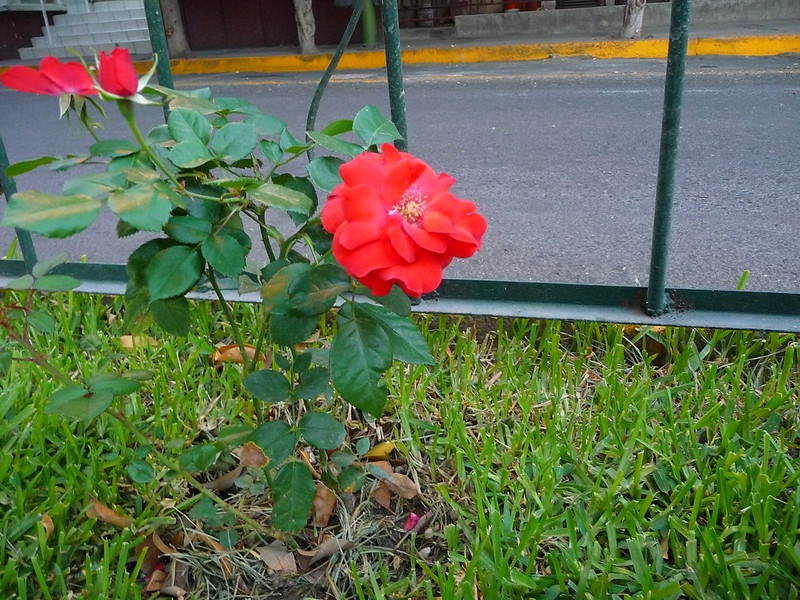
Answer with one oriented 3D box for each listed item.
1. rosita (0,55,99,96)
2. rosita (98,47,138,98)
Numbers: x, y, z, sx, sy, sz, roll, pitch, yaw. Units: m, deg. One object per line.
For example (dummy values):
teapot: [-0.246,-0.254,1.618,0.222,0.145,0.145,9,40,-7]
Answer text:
rosita: [-0.756,-0.466,1.253,0.144,0.059,0.148,-12,24,-38]
rosita: [-0.570,-0.456,1.174,0.075,0.092,0.147,-10,27,-23]
